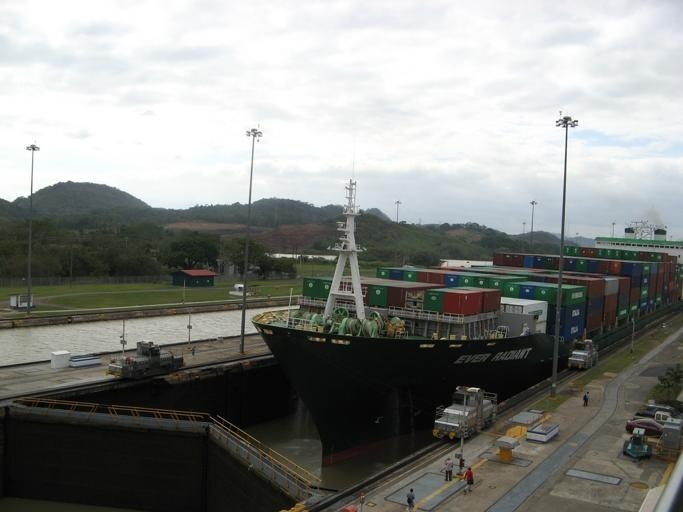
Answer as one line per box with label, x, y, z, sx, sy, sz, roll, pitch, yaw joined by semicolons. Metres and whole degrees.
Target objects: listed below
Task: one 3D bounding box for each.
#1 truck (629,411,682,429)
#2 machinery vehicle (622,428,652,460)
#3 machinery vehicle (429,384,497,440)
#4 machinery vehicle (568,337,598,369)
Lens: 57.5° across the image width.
truck;17.434;9.409;35.348;2.432;0.675;1.227;-8;6;15
machinery vehicle;15.806;10.120;33.380;1.418;1.114;0.771;2;6;4
machinery vehicle;6.949;8.973;35.170;1.661;2.696;3.684;10;14;43
machinery vehicle;18.494;7.519;48.747;1.441;1.969;4.391;4;9;38
